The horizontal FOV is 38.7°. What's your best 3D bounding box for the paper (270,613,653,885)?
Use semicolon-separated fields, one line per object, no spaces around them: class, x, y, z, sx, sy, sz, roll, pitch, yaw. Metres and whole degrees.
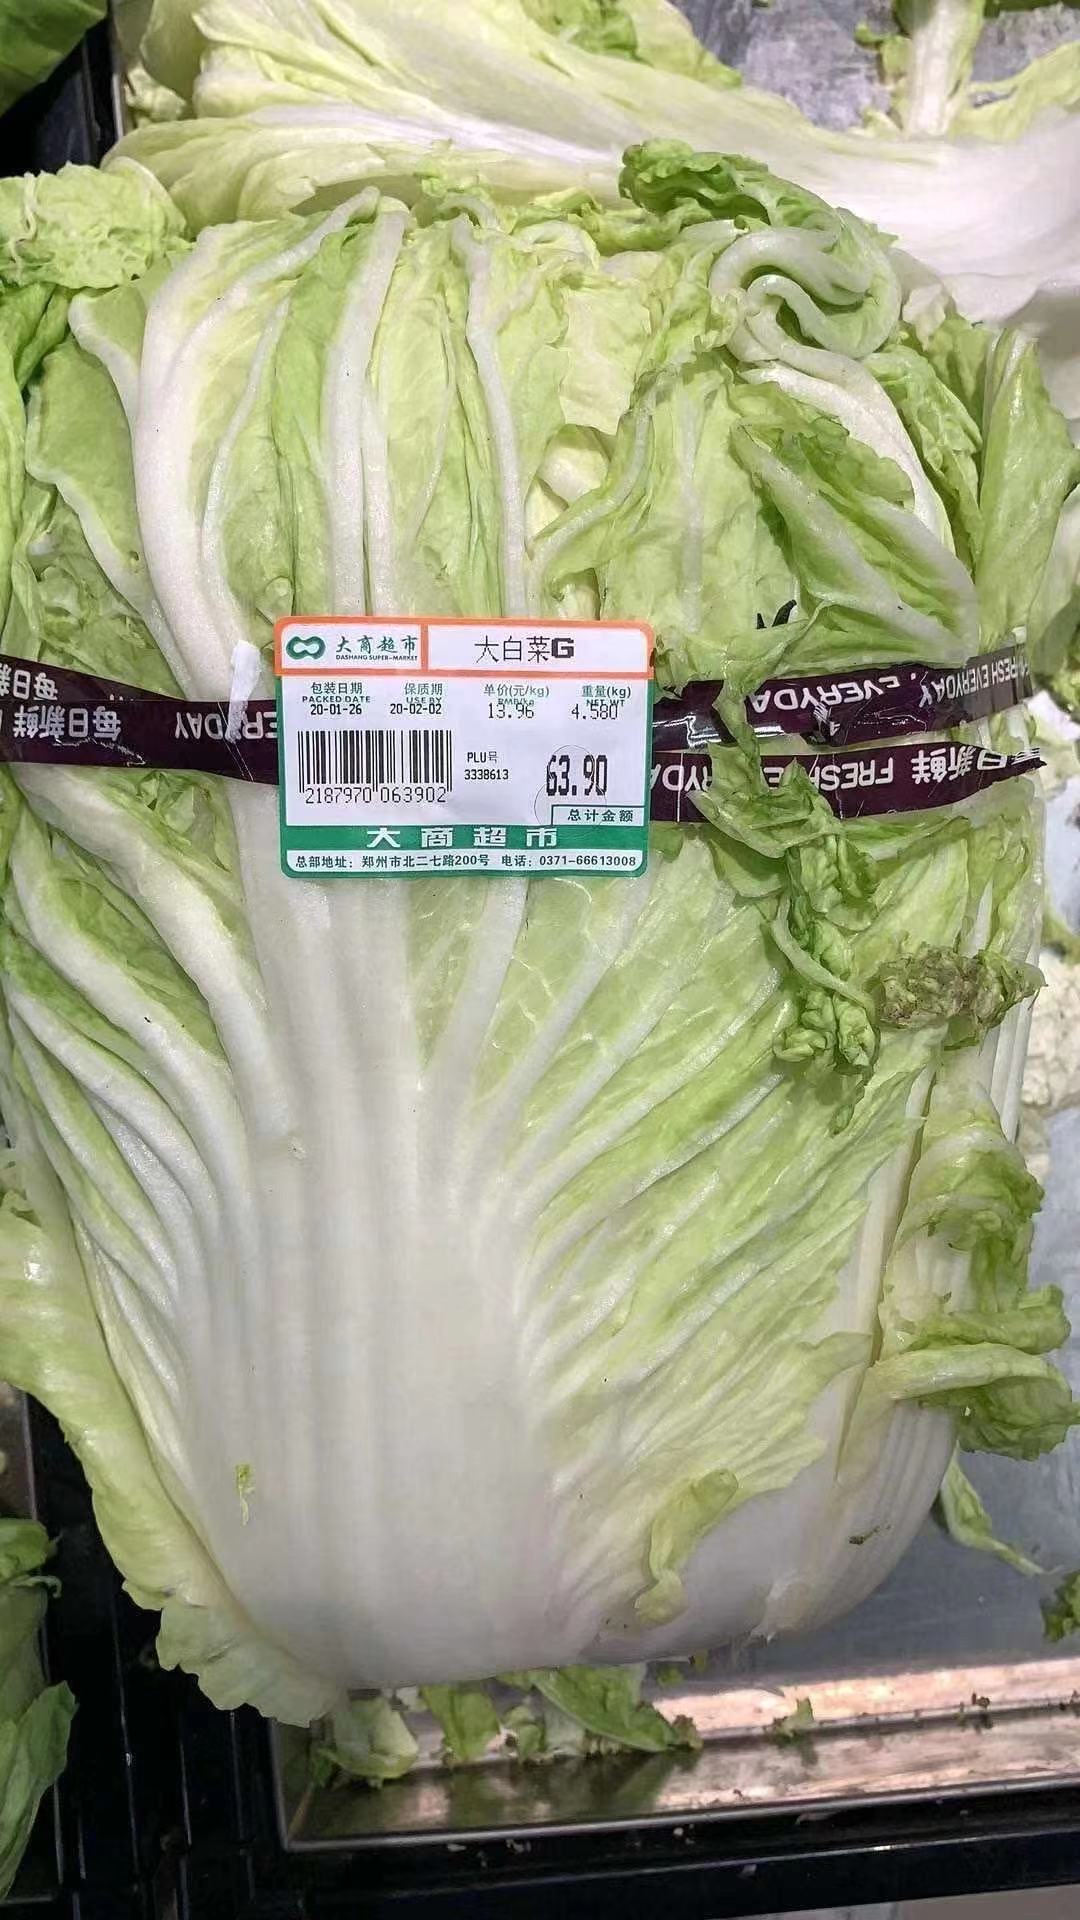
paper;-0.066;-0.164;1.133;0.182;0.145;0.021;-1;15;0
